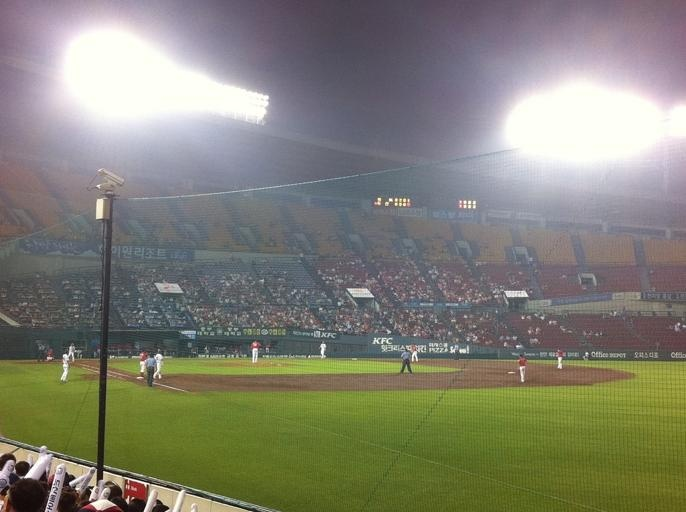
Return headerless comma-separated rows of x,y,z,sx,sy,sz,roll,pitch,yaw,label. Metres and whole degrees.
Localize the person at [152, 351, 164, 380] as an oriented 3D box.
-9.299,5.613,34.465,0.576,1.699,0.505,9,-12,-13,person
